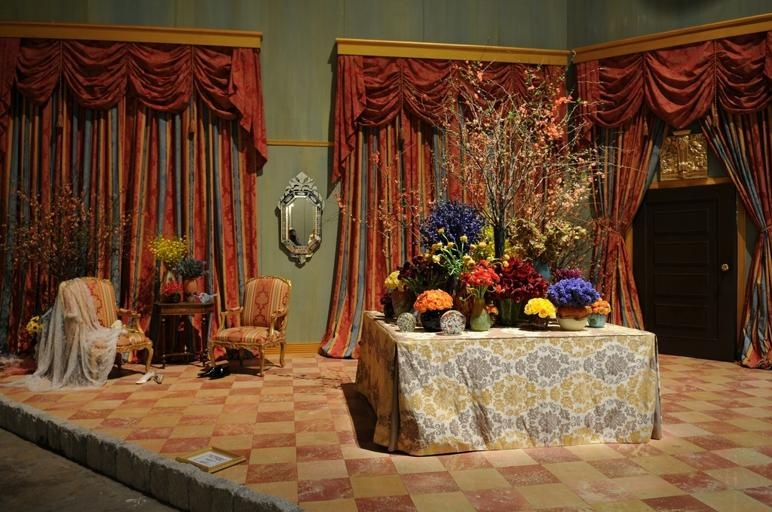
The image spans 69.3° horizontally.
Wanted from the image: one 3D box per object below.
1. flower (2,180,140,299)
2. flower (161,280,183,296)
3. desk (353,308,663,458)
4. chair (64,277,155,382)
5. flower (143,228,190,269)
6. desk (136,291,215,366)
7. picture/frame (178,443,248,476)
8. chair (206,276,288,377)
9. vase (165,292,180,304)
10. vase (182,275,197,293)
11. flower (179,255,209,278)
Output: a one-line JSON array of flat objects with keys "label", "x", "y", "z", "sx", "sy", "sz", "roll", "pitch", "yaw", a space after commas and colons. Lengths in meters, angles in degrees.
[{"label": "flower", "x": -4.509, "y": -0.278, "z": 7.832, "sx": 1.646, "sy": 1.385, "sz": 0.649, "roll": 1, "pitch": 12, "yaw": 2}, {"label": "flower", "x": -2.931, "y": 0.445, "z": 7.719, "sx": 0.205, "sy": 0.186, "sz": 0.213, "roll": -3, "pitch": 4, "yaw": 1}, {"label": "desk", "x": 1.213, "y": 1.256, "z": 5.179, "sx": 2.597, "sy": 1.069, "sz": 0.326, "roll": -1, "pitch": 12, "yaw": -6}, {"label": "chair", "x": -3.515, "y": 0.929, "z": 7.105, "sx": 0.898, "sy": 1.330, "sz": 0.819, "roll": 4, "pitch": 7, "yaw": 43}, {"label": "flower", "x": -3.082, "y": -0.099, "z": 7.895, "sx": 0.539, "sy": 0.504, "sz": 0.477, "roll": 1, "pitch": 0, "yaw": -4}, {"label": "desk", "x": -2.829, "y": 1.089, "z": 7.846, "sx": 0.855, "sy": 0.883, "sz": 0.507, "roll": 0, "pitch": 1, "yaw": -24}, {"label": "picture/frame", "x": -1.562, "y": 1.817, "z": 5.031, "sx": 0.529, "sy": 0.080, "sz": 0.379, "roll": -9, "pitch": 14, "yaw": -41}, {"label": "chair", "x": -1.827, "y": 0.879, "z": 7.488, "sx": 0.859, "sy": 1.244, "sz": 0.970, "roll": 1, "pitch": 2, "yaw": 7}, {"label": "vase", "x": -2.891, "y": 0.569, "z": 7.632, "sx": 0.133, "sy": 0.105, "sz": 0.141, "roll": 6, "pitch": -11, "yaw": -36}, {"label": "vase", "x": -2.694, "y": 0.391, "z": 7.671, "sx": 0.178, "sy": 0.184, "sz": 0.181, "roll": -1, "pitch": 0, "yaw": -18}, {"label": "flower", "x": -2.722, "y": 0.189, "z": 7.919, "sx": 0.340, "sy": 0.296, "sz": 0.471, "roll": -2, "pitch": 11, "yaw": -12}]
